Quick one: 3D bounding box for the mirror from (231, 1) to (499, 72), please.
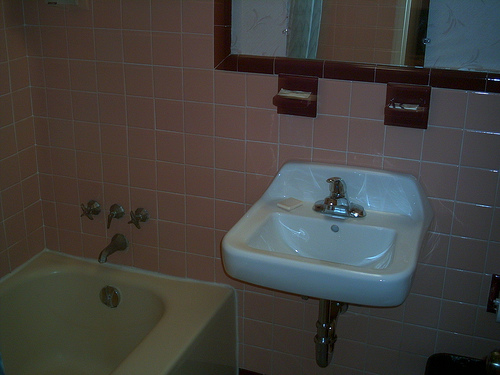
[{"bbox_3d":[0.389,-0.576,1.568,0.978,0.269,0.029,12,15,16],"label":"mirror"}]

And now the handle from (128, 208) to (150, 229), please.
[{"bbox_3d":[-0.533,0.152,2.036,0.074,0.098,0.088,13,16,25],"label":"handle"}]

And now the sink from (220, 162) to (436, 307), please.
[{"bbox_3d":[0.299,0.160,1.540,0.628,0.379,0.608,9,30,20],"label":"sink"}]

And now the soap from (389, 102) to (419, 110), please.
[{"bbox_3d":[0.553,-0.292,1.536,0.100,0.025,0.043,13,17,17],"label":"soap"}]

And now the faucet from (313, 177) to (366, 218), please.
[{"bbox_3d":[0.335,0.018,1.622,0.205,0.153,0.082,7,36,16],"label":"faucet"}]

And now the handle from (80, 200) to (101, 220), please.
[{"bbox_3d":[-0.774,0.112,2.094,0.089,0.089,0.035,-35,5,0],"label":"handle"}]

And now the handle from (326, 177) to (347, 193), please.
[{"bbox_3d":[0.322,-0.008,1.582,0.071,0.076,0.047,-8,21,-7],"label":"handle"}]

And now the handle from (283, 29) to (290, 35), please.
[{"bbox_3d":[0.141,-0.600,1.650,0.021,0.022,0.016,4,14,18],"label":"handle"}]

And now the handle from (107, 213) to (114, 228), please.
[{"bbox_3d":[-0.662,0.157,2.033,0.028,0.073,0.062,1,16,-20],"label":"handle"}]
